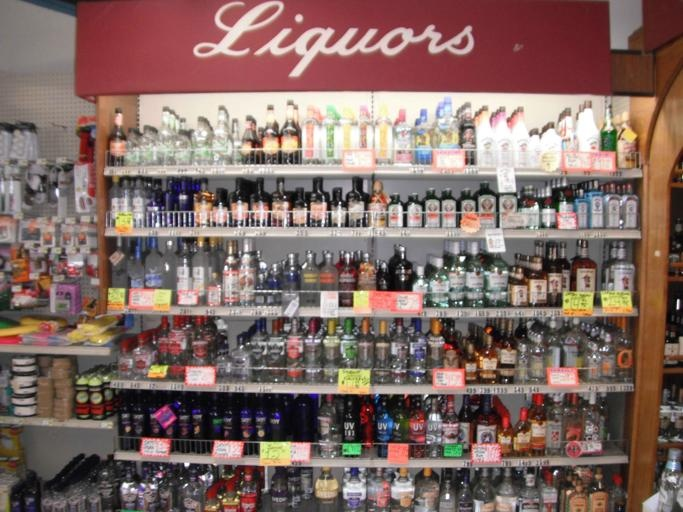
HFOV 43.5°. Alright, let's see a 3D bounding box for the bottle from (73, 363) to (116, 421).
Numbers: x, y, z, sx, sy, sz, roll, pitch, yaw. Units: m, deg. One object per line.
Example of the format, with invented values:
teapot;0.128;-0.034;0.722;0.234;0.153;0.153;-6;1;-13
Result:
bottle;-2.074;1.161;7.155;0.361;0.437;0.295;1;-1;2
